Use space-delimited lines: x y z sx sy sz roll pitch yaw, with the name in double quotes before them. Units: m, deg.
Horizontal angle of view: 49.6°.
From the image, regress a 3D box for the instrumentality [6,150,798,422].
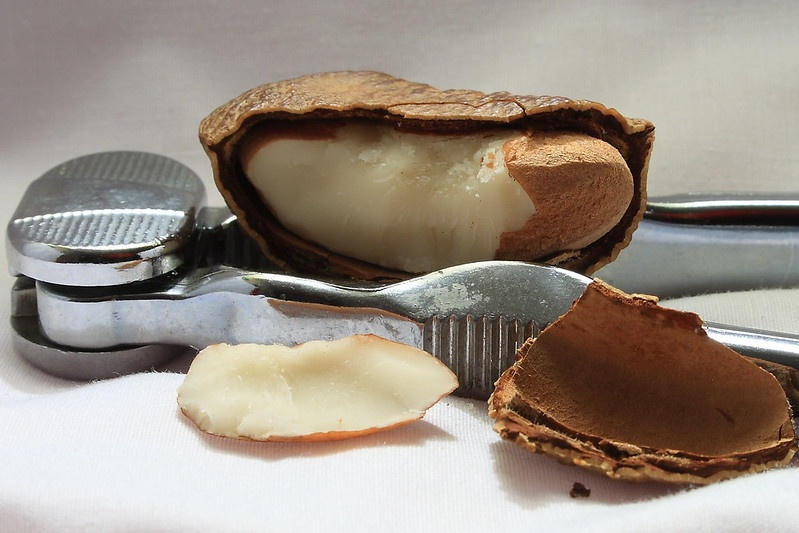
"instrumentality" -0.003 0.015 0.882 0.859 0.168 0.280 5 17 8
